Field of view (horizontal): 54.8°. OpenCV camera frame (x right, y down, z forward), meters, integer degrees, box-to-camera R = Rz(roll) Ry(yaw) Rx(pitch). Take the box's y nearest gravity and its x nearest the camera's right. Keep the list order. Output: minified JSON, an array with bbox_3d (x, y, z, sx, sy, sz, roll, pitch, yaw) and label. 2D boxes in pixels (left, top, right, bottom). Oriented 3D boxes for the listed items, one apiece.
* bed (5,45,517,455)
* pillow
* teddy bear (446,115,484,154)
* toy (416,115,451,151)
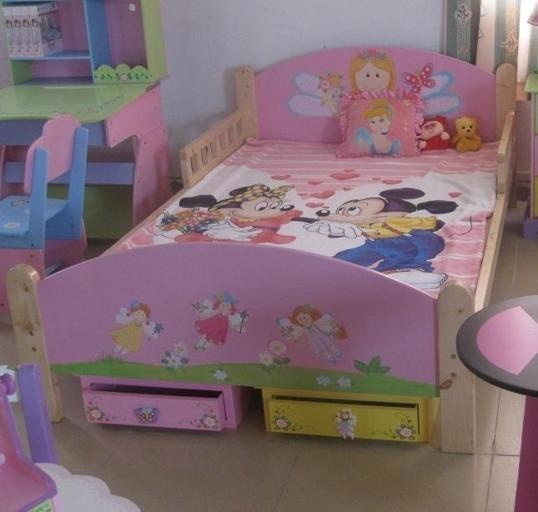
[{"bbox_3d":[0.290,-0.037,2.782,2.043,1.132,2.390,4,30,16],"label":"bed"},{"bbox_3d":[0.739,-0.849,3.331,0.560,0.445,0.143,1,-1,13],"label":"pillow"},{"bbox_3d":[1.269,-0.784,3.337,0.189,0.206,0.147,-9,24,2],"label":"teddy bear"},{"bbox_3d":[1.057,-0.791,3.346,0.219,0.233,0.155,-8,19,-5],"label":"toy"}]
